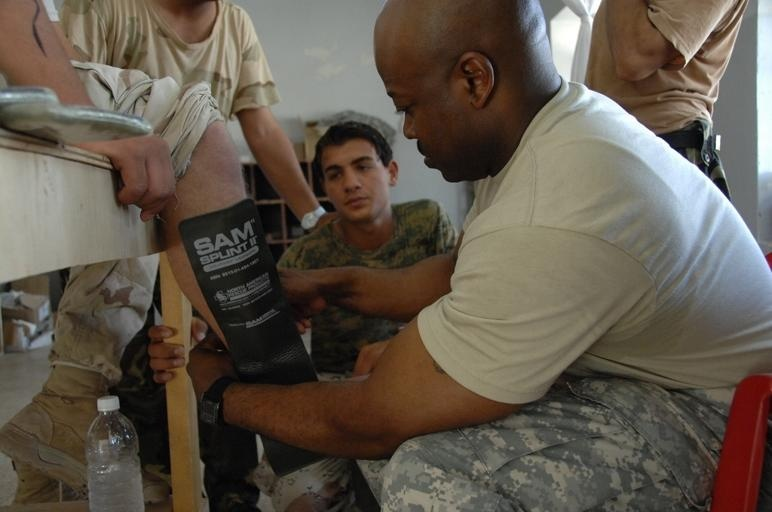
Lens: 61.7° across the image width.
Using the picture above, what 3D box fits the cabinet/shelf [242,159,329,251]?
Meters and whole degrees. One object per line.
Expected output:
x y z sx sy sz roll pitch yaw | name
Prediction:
-0.966 -0.413 5.345 0.281 0.659 0.628 2 8 43 | cabinet/shelf
